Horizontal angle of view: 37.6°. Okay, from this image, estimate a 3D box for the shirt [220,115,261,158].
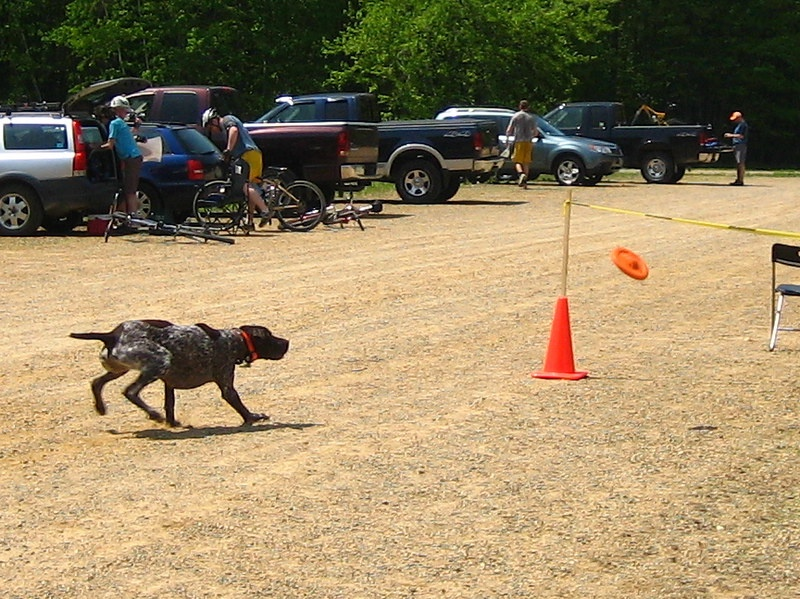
[{"bbox_3d":[-2.310,-2.385,16.910,0.431,0.580,0.648,-5,9,-7],"label":"shirt"}]

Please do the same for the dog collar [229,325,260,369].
[{"bbox_3d":[-1.077,0.327,8.122,0.173,0.266,0.209,-28,-13,-22],"label":"dog collar"}]

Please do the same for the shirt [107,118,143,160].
[{"bbox_3d":[-3.862,-2.283,16.455,0.403,0.585,0.281,-5,10,-8],"label":"shirt"}]

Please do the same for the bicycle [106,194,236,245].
[{"bbox_3d":[-3.249,-1.159,16.593,1.780,0.676,1.670,-3,8,-5],"label":"bicycle"}]

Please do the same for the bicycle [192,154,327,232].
[{"bbox_3d":[-2.003,-1.440,17.393,2.270,0.887,0.906,1,3,-7],"label":"bicycle"}]

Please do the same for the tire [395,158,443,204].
[{"bbox_3d":[0.384,-2.342,22.614,1.301,0.843,0.361,1,15,9],"label":"tire"}]

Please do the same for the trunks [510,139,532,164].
[{"bbox_3d":[2.733,-3.368,26.350,0.582,0.468,0.329,13,28,23],"label":"trunks"}]

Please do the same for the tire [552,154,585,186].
[{"bbox_3d":[4.082,-3.163,28.155,0.945,0.650,0.330,6,14,32],"label":"tire"}]

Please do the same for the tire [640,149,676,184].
[{"bbox_3d":[6.655,-3.443,29.917,1.214,0.831,0.396,2,11,31],"label":"tire"}]

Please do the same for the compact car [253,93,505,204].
[{"bbox_3d":[-1.161,-2.929,22.112,5.280,1.197,1.966,3,10,10],"label":"compact car"}]

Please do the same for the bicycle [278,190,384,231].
[{"bbox_3d":[-1.116,-1.368,17.825,1.710,0.612,0.614,-2,18,-1],"label":"bicycle"}]
